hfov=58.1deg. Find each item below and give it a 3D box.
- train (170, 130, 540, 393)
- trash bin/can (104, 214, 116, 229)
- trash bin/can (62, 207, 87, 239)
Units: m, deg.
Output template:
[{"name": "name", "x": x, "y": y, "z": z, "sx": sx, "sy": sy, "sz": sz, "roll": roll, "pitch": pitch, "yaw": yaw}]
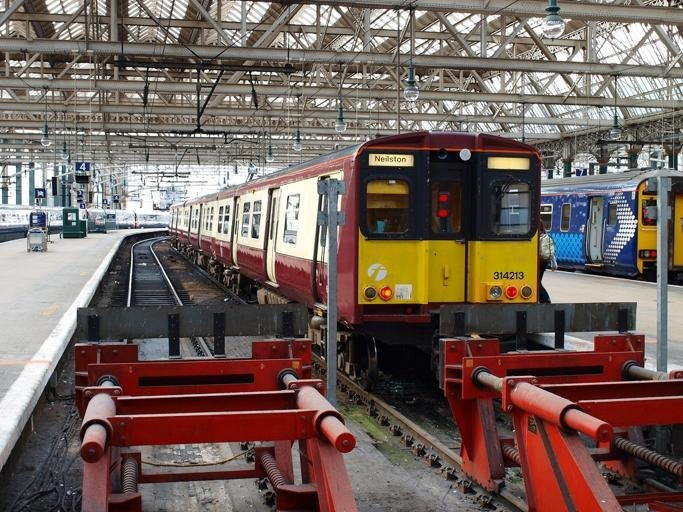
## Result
[{"name": "train", "x": -1.668, "y": -0.692, "z": 18.347, "sx": 2.638, "sy": 4.091, "sz": 20.504, "roll": 0, "pitch": 4, "yaw": -17}, {"name": "trash bin/can", "x": -27.175, "y": -3.993, "z": 71.686, "sx": 1.102, "sy": 2.011, "sz": 1.972, "roll": -1, "pitch": 4, "yaw": -14}, {"name": "trash bin/can", "x": -21.100, "y": -2.669, "z": 48.453, "sx": 1.933, "sy": 2.821, "sz": 2.365, "roll": 0, "pitch": 11, "yaw": -8}]
